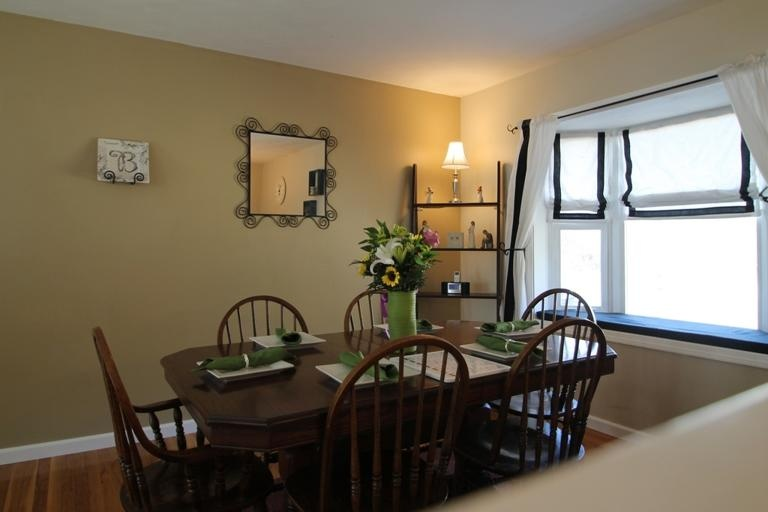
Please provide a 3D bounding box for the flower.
[{"bbox_3d":[0.161,0.048,3.181,0.525,0.467,0.496,2,12,26],"label":"flower"}]

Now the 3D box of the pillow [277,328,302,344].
[{"bbox_3d":[-0.613,0.511,3.341,0.084,0.058,0.145,3,-7,-28],"label":"pillow"}]

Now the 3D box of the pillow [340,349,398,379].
[{"bbox_3d":[-0.079,0.573,2.748,0.146,0.059,0.220,4,1,-30],"label":"pillow"}]

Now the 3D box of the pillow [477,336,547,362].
[{"bbox_3d":[0.740,0.512,3.132,0.408,0.135,0.110,13,5,34],"label":"pillow"}]

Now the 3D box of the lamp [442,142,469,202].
[{"bbox_3d":[0.729,-0.882,5.374,0.253,0.671,0.572,0,5,7],"label":"lamp"}]

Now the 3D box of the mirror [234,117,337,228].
[{"bbox_3d":[-0.935,-0.760,4.730,1.068,1.008,0.044,-1,7,-32],"label":"mirror"}]
